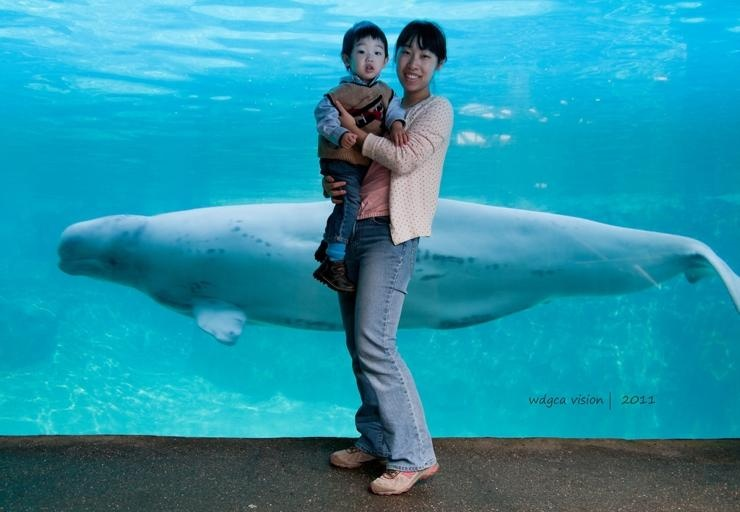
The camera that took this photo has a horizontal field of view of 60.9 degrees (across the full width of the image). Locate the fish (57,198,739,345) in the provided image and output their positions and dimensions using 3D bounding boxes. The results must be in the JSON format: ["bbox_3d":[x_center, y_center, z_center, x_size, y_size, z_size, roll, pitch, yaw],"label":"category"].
[{"bbox_3d":[0.298,0.259,7.654,6.923,2.318,1.209,0,71,5],"label":"fish"}]

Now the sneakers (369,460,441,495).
[{"bbox_3d":[0.229,1.722,4.966,0.575,0.196,0.180,-6,11,-15],"label":"sneakers"}]

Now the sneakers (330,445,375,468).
[{"bbox_3d":[-0.157,1.649,5.216,0.457,0.158,0.138,3,21,1],"label":"sneakers"}]
